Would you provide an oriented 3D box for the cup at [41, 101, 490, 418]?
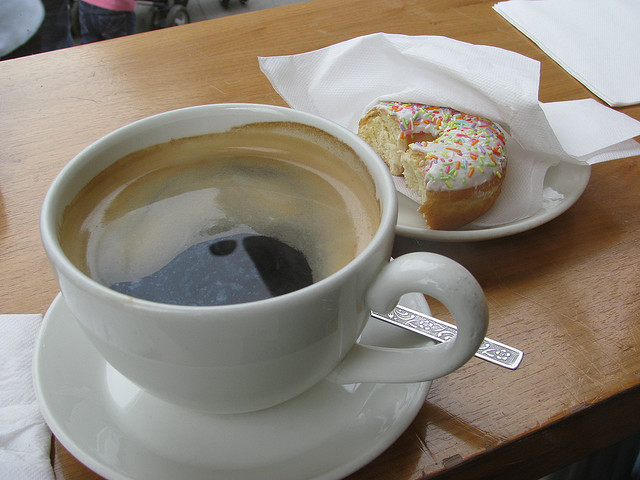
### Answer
[{"bbox_3d":[-0.070,0.013,0.513,0.300,0.126,0.360,-27,67,-17],"label":"cup"}]

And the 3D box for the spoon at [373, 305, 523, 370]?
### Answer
[{"bbox_3d":[0.117,0.094,0.525,0.184,0.009,0.029,21,78,0],"label":"spoon"}]

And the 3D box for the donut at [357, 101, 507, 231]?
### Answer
[{"bbox_3d":[0.186,-0.143,0.846,0.187,0.086,0.267,-17,41,-10],"label":"donut"}]
